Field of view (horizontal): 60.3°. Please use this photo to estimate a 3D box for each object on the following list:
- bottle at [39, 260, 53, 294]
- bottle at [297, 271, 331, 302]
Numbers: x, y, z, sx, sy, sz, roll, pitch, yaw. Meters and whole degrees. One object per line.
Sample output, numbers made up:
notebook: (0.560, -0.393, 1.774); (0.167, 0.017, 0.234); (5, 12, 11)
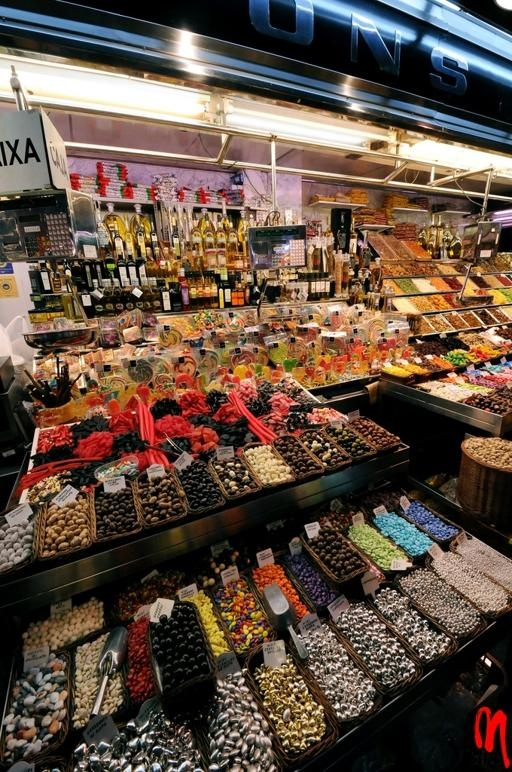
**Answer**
bottle: (-1.690, -0.868, 3.546); (0.093, 0.241, 0.318); (-16, 21, -21)
bottle: (0.566, -0.982, 4.341); (0.368, 0.271, 0.235); (-8, 19, -6)
